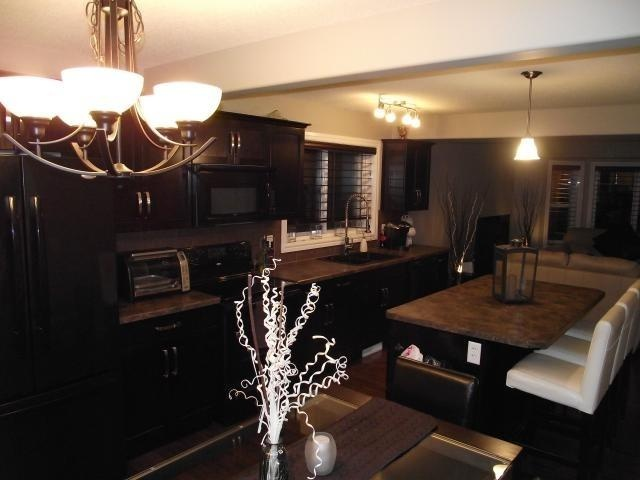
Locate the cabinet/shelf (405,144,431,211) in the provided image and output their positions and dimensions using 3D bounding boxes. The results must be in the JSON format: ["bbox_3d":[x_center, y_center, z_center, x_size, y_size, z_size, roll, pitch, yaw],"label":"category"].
[{"bbox_3d":[1.340,-0.853,6.526,0.178,0.915,0.612,5,12,32],"label":"cabinet/shelf"}]

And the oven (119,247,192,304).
[{"bbox_3d":[-1.286,0.208,3.764,0.350,0.362,0.515,4,8,43],"label":"oven"}]

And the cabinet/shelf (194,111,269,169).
[{"bbox_3d":[-0.790,-0.855,4.302,0.384,0.476,0.710,4,7,37],"label":"cabinet/shelf"}]
